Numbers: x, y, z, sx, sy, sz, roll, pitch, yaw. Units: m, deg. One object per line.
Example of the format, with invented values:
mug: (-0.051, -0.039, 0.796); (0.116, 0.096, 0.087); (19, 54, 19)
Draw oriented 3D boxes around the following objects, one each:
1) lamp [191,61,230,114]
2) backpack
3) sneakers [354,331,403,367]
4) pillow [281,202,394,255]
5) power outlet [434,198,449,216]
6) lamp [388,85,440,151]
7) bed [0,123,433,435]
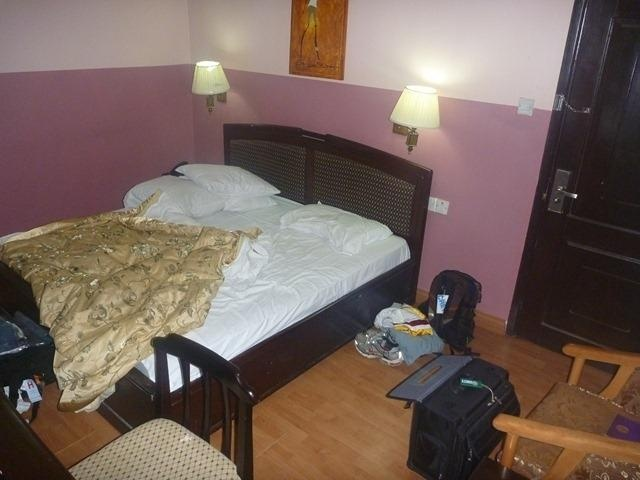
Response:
lamp: (-1.001, -1.416, 4.415); (0.316, 0.476, 0.425); (3, 23, 1)
backpack: (0.981, 0.552, 3.485); (0.235, 0.455, 0.426); (-13, 27, -39)
sneakers: (0.416, 0.757, 3.387); (0.338, 0.165, 0.174); (23, 58, 23)
pillow: (0.137, -0.112, 3.631); (0.624, 0.163, 0.412); (22, 39, 34)
power outlet: (0.948, -0.267, 3.642); (0.099, 0.113, 0.015); (22, 35, 37)
lamp: (0.666, -0.877, 3.465); (0.383, 0.491, 0.426); (7, 37, 7)
bed: (-0.395, 0.089, 3.398); (2.034, 1.441, 2.113); (27, 41, 32)
